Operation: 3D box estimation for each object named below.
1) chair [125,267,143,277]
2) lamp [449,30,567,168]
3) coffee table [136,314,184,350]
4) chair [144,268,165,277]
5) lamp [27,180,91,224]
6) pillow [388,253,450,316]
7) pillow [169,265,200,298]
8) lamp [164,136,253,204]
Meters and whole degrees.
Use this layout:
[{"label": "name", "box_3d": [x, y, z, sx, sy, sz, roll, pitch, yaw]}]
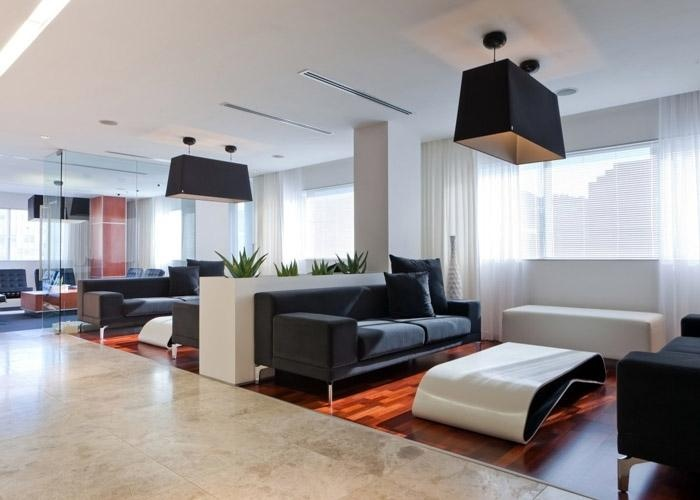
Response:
[{"label": "chair", "box_3d": [-3.597, 0.350, 7.942, 0.165, 0.154, 0.167, 1, -1, 19]}, {"label": "lamp", "box_3d": [1.427, -1.361, 4.173, 0.710, 1.040, 1.082, 5, 8, 36]}, {"label": "coffee table", "box_3d": [-2.380, 1.010, 5.982, 0.488, 0.233, 0.493, 0, -4, 29]}, {"label": "chair", "box_3d": [-3.331, 0.398, 8.069, 0.200, 0.219, 0.185, 4, -10, -35]}, {"label": "lamp", "box_3d": [-4.800, -0.813, 7.871, 1.003, 0.475, 0.508, 1, 2, 9]}, {"label": "pillow", "box_3d": [0.748, 0.400, 5.418, 0.624, 0.586, 0.223, 7, -21, -36]}, {"label": "pillow", "box_3d": [-2.602, 0.494, 7.446, 0.405, 0.461, 0.180, -5, -15, -29]}, {"label": "lamp", "box_3d": [-1.915, -0.976, 6.499, 1.080, 0.584, 0.330, -4, 8, -31]}]
